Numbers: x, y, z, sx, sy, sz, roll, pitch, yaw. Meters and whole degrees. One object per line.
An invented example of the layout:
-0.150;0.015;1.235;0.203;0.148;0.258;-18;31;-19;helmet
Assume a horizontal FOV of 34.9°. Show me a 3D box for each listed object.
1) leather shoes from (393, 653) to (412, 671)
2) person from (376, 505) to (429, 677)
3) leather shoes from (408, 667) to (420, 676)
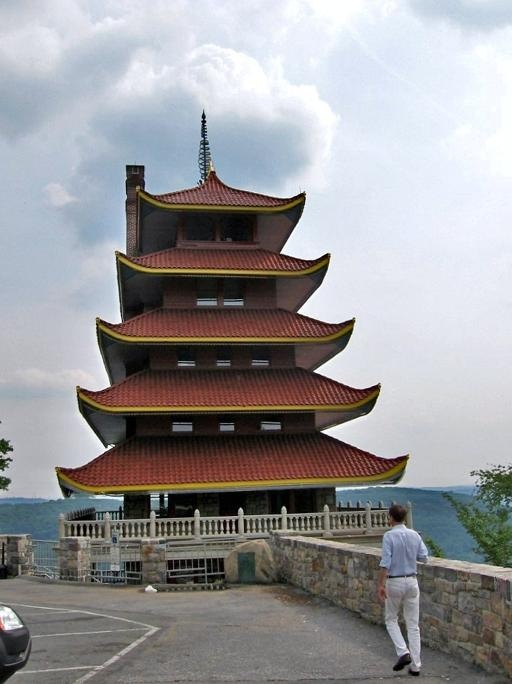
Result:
1.741;3.856;9.877;0.162;0.152;0.374;11;-34;-13;leather shoes
1.931;3.099;10.577;0.645;2.002;1.496;-6;-12;10;person
1.906;3.925;9.778;0.132;0.090;0.110;-3;-11;-3;leather shoes
